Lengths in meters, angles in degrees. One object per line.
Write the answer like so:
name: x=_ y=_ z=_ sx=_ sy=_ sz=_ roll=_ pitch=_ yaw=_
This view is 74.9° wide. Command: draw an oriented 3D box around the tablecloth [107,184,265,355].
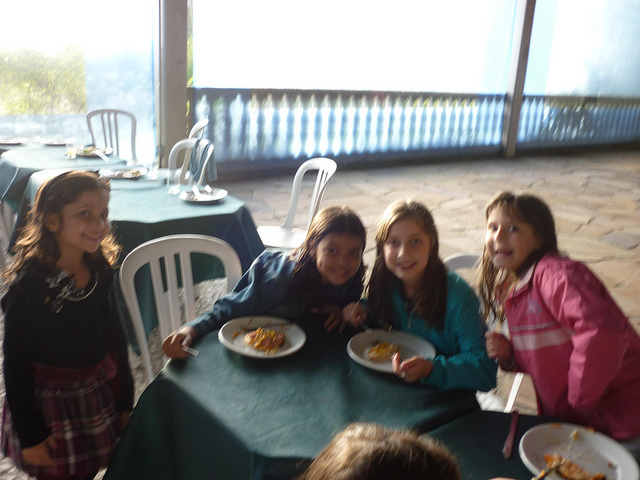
tablecloth: x=-0.716 y=0.196 z=2.331 sx=0.833 sy=0.513 sz=0.876 roll=2 pitch=14 yaw=9

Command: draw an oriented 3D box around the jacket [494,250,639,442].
jacket: x=0.744 y=0.315 z=1.228 sx=0.384 sy=0.491 sz=0.234 roll=9 pitch=21 yaw=25

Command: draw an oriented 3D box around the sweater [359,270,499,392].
sweater: x=0.387 y=0.309 z=1.265 sx=0.279 sy=0.115 sz=0.400 roll=4 pitch=41 yaw=-2

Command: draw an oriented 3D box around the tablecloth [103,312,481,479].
tablecloth: x=-0.133 y=0.274 z=0.975 sx=0.483 sy=0.268 sz=0.478 roll=-4 pitch=10 yaw=-31

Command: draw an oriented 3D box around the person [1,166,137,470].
person: x=-0.781 y=0.260 z=1.269 sx=0.307 sy=0.892 sz=0.279 roll=-6 pitch=19 yaw=-17

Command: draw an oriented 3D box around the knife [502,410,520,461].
knife: x=0.431 y=0.432 z=0.939 sx=0.023 sy=0.017 sz=0.188 roll=12 pitch=11 yaw=28

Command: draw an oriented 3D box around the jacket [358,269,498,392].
jacket: x=0.384 y=0.303 z=1.246 sx=0.262 sy=0.108 sz=0.374 roll=4 pitch=39 yaw=-2

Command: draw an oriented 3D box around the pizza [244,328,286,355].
pizza: x=-0.160 y=0.282 z=1.193 sx=0.059 sy=0.020 sz=0.069 roll=-14 pitch=24 yaw=-38
